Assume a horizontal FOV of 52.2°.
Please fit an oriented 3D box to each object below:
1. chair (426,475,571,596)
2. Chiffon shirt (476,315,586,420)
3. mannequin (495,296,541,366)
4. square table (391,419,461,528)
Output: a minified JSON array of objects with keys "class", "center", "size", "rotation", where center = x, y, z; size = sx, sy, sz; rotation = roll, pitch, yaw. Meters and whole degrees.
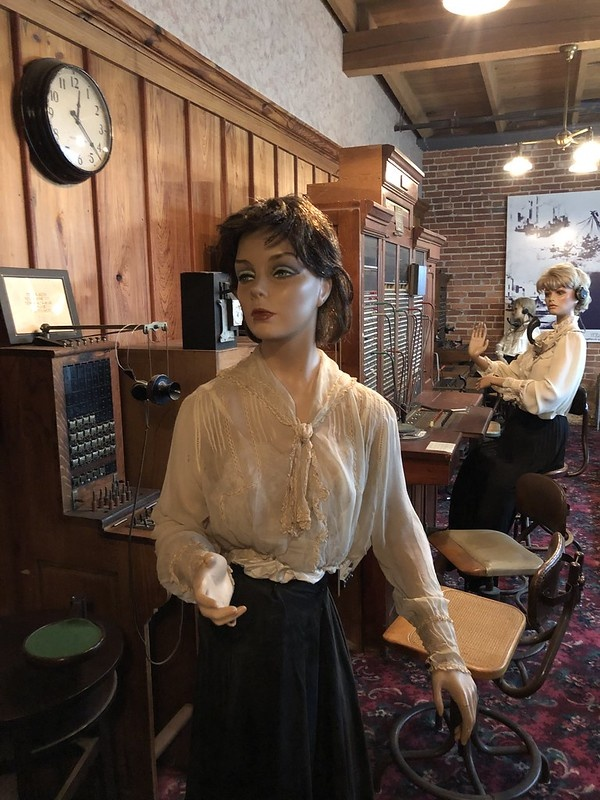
[{"class":"chair","center":[0.722,0.514,2.257],"size":[0.446,0.500,0.430],"rotation":[2,9,12]},{"class":"Chiffon shirt","center":[1.287,-0.182,3.257],"size":[0.371,0.513,0.484],"rotation":[10,14,35]},{"class":"mannequin","center":[2.351,-0.779,6.610],"size":[0.405,0.670,0.548],"rotation":[5,2,-15]},{"class":"square table","center":[0.574,0.405,2.676],"size":[0.264,0.423,0.467],"rotation":[0,5,23]}]
